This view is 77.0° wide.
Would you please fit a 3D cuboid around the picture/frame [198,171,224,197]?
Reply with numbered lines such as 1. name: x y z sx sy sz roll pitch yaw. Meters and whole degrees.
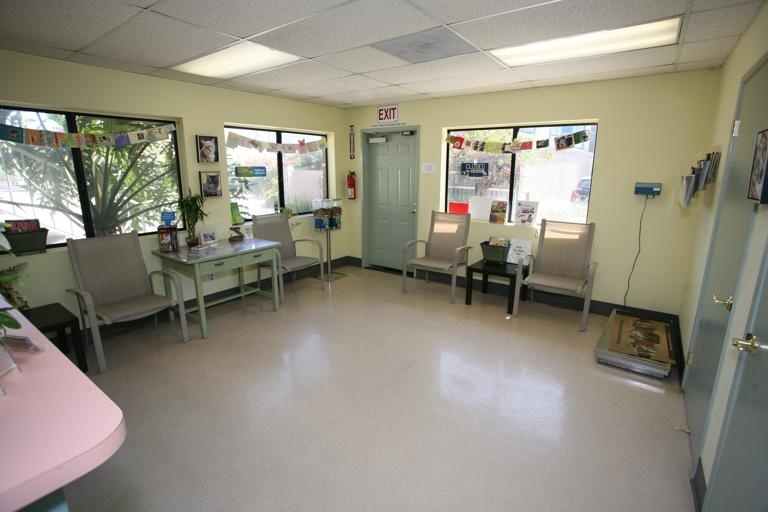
1. picture/frame: -2.149 -0.893 5.938 0.057 0.397 0.342 1 6 35

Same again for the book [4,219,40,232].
1. book: -3.587 -0.301 4.785 0.282 0.114 0.278 -8 15 -37

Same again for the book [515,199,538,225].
1. book: 1.848 -0.563 6.241 0.308 0.386 0.043 7 6 31

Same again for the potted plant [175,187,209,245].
1. potted plant: -2.309 -0.432 5.765 0.288 0.611 0.326 9 12 43

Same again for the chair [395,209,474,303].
1. chair: 0.645 -0.061 6.678 1.089 1.085 0.934 8 15 29

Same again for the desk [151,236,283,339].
1. desk: -1.987 0.300 5.934 0.828 0.909 1.316 13 19 39

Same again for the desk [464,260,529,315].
1. desk: 1.465 0.293 6.121 0.684 0.524 0.696 6 14 31

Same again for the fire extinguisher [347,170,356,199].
1. fire extinguisher: -0.524 -1.119 7.621 0.179 0.451 0.092 11 17 38

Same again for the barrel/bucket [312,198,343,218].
1. barrel/bucket: -0.842 -0.790 7.251 0.250 0.275 0.437 3 9 26

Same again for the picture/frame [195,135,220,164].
1. picture/frame: -2.166 -1.305 5.857 0.053 0.397 0.358 1 5 34

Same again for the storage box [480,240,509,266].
1. storage box: 1.455 -0.091 6.292 0.388 0.315 0.304 4 6 42

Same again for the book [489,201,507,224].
1. book: 1.504 -0.591 6.419 0.279 0.260 0.069 5 3 39

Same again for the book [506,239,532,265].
1. book: 1.740 -0.060 6.194 0.320 0.357 0.037 4 1 41
